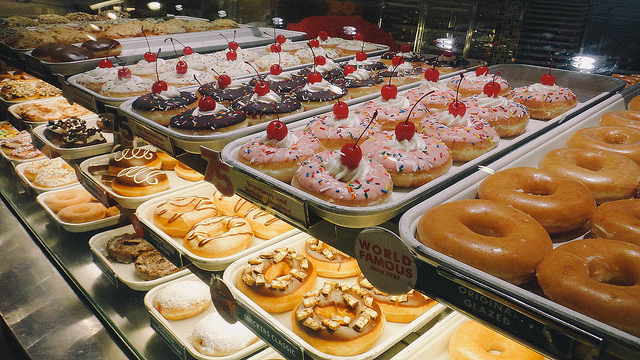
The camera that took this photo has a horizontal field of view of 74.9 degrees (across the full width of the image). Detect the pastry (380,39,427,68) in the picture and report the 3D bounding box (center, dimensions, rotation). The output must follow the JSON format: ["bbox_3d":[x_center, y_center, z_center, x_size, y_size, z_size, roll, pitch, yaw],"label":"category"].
[{"bbox_3d":[0.857,-1.254,4.283,0.391,0.200,0.347,-1,24,-1],"label":"pastry"}]

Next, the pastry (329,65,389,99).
[{"bbox_3d":[0.352,-0.851,3.684,0.425,0.163,0.385,6,30,14],"label":"pastry"}]

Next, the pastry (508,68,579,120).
[{"bbox_3d":[1.796,-0.707,3.470,0.510,0.259,0.464,9,31,4],"label":"pastry"}]

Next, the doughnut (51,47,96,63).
[{"bbox_3d":[-2.328,-1.170,3.941,0.263,0.072,0.236,0,14,-6],"label":"doughnut"}]

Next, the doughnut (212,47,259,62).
[{"bbox_3d":[-0.877,-1.315,4.427,0.306,0.085,0.290,10,21,23],"label":"doughnut"}]

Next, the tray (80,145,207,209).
[{"bbox_3d":[-1.790,0.004,3.670,0.797,0.080,0.774,21,29,38],"label":"tray"}]

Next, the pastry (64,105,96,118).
[{"bbox_3d":[-2.832,-0.799,4.955,0.293,0.066,0.291,22,27,30],"label":"pastry"}]

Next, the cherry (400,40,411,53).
[{"bbox_3d":[0.876,-1.357,4.278,0.109,0.126,0.103,-20,36,-28],"label":"cherry"}]

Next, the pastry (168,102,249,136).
[{"bbox_3d":[-0.807,-0.424,2.958,0.345,0.091,0.337,11,22,29],"label":"pastry"}]

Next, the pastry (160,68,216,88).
[{"bbox_3d":[-1.207,-0.921,3.805,0.309,0.088,0.291,13,27,21],"label":"pastry"}]

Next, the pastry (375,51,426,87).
[{"bbox_3d":[0.770,-1.003,3.947,0.459,0.163,0.439,-17,31,-11],"label":"pastry"}]

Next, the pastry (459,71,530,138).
[{"bbox_3d":[1.299,-0.559,3.253,0.538,0.353,0.487,-16,27,-17],"label":"pastry"}]

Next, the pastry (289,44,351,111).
[{"bbox_3d":[0.031,-0.802,3.383,0.423,0.367,0.400,-2,32,9],"label":"pastry"}]

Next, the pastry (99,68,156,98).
[{"bbox_3d":[-1.600,-0.795,3.544,0.376,0.150,0.374,19,26,33],"label":"pastry"}]

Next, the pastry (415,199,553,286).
[{"bbox_3d":[0.896,0.309,2.322,0.681,0.212,0.624,-4,30,-5],"label":"pastry"}]

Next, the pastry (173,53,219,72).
[{"bbox_3d":[-1.203,-1.177,4.180,0.327,0.108,0.325,9,18,11],"label":"pastry"}]

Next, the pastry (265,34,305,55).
[{"bbox_3d":[-0.364,-1.510,4.672,0.322,0.112,0.361,5,27,6],"label":"pastry"}]

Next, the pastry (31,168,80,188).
[{"bbox_3d":[-2.880,-0.016,4.586,0.352,0.080,0.316,4,19,0],"label":"pastry"}]

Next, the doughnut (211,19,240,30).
[{"bbox_3d":[-1.234,-2.016,5.447,0.244,0.064,0.232,-14,27,-37],"label":"doughnut"}]

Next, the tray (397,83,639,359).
[{"bbox_3d":[1.274,0.089,2.598,1.865,0.217,1.029,-25,37,-33],"label":"tray"}]

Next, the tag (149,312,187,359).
[{"bbox_3d":[-1.221,1.290,3.410,0.519,0.290,0.055,26,46,32],"label":"tag"}]

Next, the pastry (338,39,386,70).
[{"bbox_3d":[0.456,-1.200,4.149,0.418,0.214,0.372,-1,23,0],"label":"pastry"}]

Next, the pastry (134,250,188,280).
[{"bbox_3d":[-1.388,0.742,3.676,0.401,0.106,0.365,-6,32,-26],"label":"pastry"}]

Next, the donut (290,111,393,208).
[{"bbox_3d":[0.128,-0.005,2.448,0.580,0.189,0.365,-2,35,-3],"label":"donut"}]

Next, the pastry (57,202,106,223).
[{"bbox_3d":[-2.321,0.319,4.096,0.301,0.084,0.270,-1,17,-1],"label":"pastry"}]

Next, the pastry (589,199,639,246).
[{"bbox_3d":[1.605,0.228,2.261,0.249,0.074,0.225,-8,20,-11],"label":"pastry"}]

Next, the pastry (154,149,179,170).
[{"bbox_3d":[-1.429,-0.183,3.935,0.252,0.105,0.245,-3,13,-45],"label":"pastry"}]

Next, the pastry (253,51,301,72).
[{"bbox_3d":[-0.431,-1.217,4.271,0.361,0.101,0.308,5,26,7],"label":"pastry"}]

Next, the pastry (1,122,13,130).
[{"bbox_3d":[-3.878,-0.670,5.216,0.106,0.036,0.105,18,32,12],"label":"pastry"}]

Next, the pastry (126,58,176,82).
[{"bbox_3d":[-1.605,-1.058,3.990,0.367,0.121,0.377,-20,30,-41],"label":"pastry"}]

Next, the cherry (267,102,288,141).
[{"bbox_3d":[-0.285,-0.373,2.735,0.150,0.261,0.132,-17,40,-30],"label":"cherry"}]

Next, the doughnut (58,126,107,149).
[{"bbox_3d":[-2.275,-0.434,3.960,0.296,0.085,0.286,7,16,26],"label":"doughnut"}]

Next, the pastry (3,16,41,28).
[{"bbox_3d":[-3.397,-1.792,4.775,0.196,0.065,0.212,8,14,7],"label":"pastry"}]

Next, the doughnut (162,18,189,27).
[{"bbox_3d":[-1.802,-2.001,5.382,0.234,0.052,0.203,8,23,7],"label":"doughnut"}]

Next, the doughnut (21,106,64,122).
[{"bbox_3d":[-3.009,-0.722,4.588,0.279,0.070,0.264,11,14,14],"label":"doughnut"}]

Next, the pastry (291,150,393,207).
[{"bbox_3d":[0.115,-0.027,2.414,0.438,0.141,0.407,12,22,22],"label":"pastry"}]

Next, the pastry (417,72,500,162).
[{"bbox_3d":[0.918,-0.440,2.989,0.616,0.456,0.527,15,34,10],"label":"pastry"}]

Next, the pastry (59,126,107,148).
[{"bbox_3d":[-2.263,-0.396,3.969,0.282,0.083,0.263,3,13,12],"label":"pastry"}]

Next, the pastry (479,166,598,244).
[{"bbox_3d":[1.262,0.106,2.386,0.523,0.165,0.472,0,28,5],"label":"pastry"}]

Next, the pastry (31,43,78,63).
[{"bbox_3d":[-2.552,-1.224,4.025,0.308,0.124,0.276,-3,20,-16],"label":"pastry"}]
